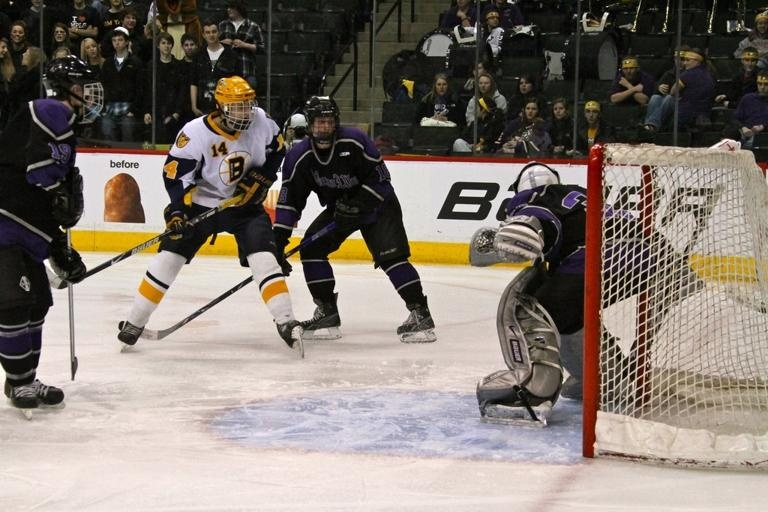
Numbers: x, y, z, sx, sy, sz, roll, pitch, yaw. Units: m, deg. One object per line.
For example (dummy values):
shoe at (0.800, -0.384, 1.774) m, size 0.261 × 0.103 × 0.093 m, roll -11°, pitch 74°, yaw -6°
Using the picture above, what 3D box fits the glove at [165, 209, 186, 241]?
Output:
glove at (-1.234, -0.191, 5.645) m, size 0.070 × 0.152 × 0.162 m, roll -7°, pitch 5°, yaw 3°

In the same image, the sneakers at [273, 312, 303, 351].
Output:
sneakers at (-0.574, 0.407, 5.617) m, size 0.147 × 0.332 × 0.123 m, roll -6°, pitch 39°, yaw -29°

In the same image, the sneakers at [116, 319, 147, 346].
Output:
sneakers at (-1.553, 0.471, 5.782) m, size 0.152 × 0.145 × 0.225 m, roll -2°, pitch 13°, yaw -12°

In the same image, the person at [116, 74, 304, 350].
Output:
person at (-1.050, -0.239, 5.648) m, size 1.012 × 1.651 × 0.641 m, roll -2°, pitch 14°, yaw -12°

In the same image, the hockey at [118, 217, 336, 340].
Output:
hockey at (-1.055, 0.187, 6.430) m, size 1.538 × 0.159 × 0.226 m, roll -29°, pitch -11°, yaw -11°

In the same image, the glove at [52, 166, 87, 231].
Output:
glove at (-1.552, -0.301, 4.704) m, size 0.125 × 0.280 × 0.183 m, roll 3°, pitch -4°, yaw 11°

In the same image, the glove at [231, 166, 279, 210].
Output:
glove at (-0.802, -0.423, 5.868) m, size 0.267 × 0.188 × 0.104 m, roll -43°, pitch -8°, yaw -11°

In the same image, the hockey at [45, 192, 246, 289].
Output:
hockey at (-1.683, -0.103, 6.840) m, size 1.753 × 0.285 × 0.254 m, roll -22°, pitch 16°, yaw -11°

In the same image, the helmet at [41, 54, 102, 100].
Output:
helmet at (-1.611, -0.934, 4.860) m, size 0.277 × 0.203 × 0.207 m, roll -9°, pitch 24°, yaw -19°

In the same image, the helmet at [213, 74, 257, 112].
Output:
helmet at (-0.887, -0.991, 5.644) m, size 0.239 × 0.201 × 0.181 m, roll -8°, pitch 17°, yaw 27°

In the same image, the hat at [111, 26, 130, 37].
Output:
hat at (-2.436, -2.107, 8.788) m, size 0.124 × 0.072 × 0.165 m, roll 14°, pitch -2°, yaw 6°

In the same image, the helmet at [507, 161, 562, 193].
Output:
helmet at (0.804, -0.411, 4.999) m, size 0.209 × 0.188 × 0.174 m, roll -7°, pitch -33°, yaw 13°

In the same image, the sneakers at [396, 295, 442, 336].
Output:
sneakers at (0.223, 0.415, 6.109) m, size 0.310 × 0.267 × 0.144 m, roll -6°, pitch 2°, yaw 30°

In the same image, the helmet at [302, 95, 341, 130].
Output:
helmet at (-0.397, -0.916, 5.920) m, size 0.206 × 0.201 × 0.227 m, roll -1°, pitch 17°, yaw -11°

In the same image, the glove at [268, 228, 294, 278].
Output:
glove at (-0.652, -0.026, 6.011) m, size 0.104 × 0.317 × 0.114 m, roll -15°, pitch 6°, yaw 8°

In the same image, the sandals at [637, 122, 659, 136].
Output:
sandals at (2.282, -1.119, 8.165) m, size 0.206 × 0.062 × 0.145 m, roll 17°, pitch 20°, yaw 36°

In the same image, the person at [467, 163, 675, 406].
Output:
person at (0.942, 0.196, 4.682) m, size 0.986 × 1.224 × 0.811 m, roll 0°, pitch 14°, yaw -3°

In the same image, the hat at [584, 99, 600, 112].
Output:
hat at (1.818, -1.313, 8.180) m, size 0.105 × 0.073 × 0.104 m, roll 0°, pitch -6°, yaw 42°

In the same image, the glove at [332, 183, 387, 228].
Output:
glove at (-0.168, -0.316, 6.140) m, size 0.345 × 0.145 × 0.241 m, roll -32°, pitch 14°, yaw 1°
